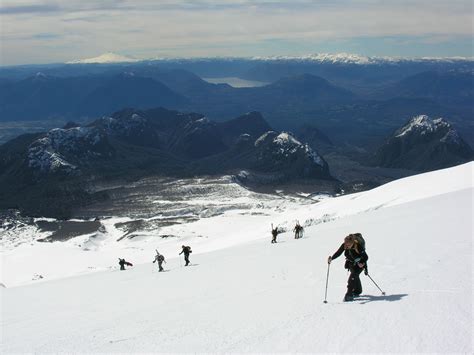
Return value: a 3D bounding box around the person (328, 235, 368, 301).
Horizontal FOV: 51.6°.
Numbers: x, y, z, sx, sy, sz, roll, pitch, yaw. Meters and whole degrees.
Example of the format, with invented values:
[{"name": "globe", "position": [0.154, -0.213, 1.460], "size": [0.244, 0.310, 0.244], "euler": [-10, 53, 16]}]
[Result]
[{"name": "person", "position": [6.313, 4.813, 26.416], "size": [1.701, 3.561, 1.096], "euler": [-11, 1, 0]}]
